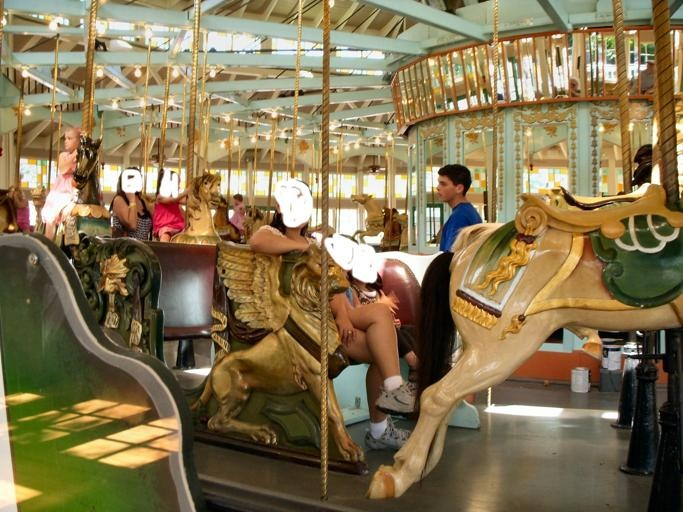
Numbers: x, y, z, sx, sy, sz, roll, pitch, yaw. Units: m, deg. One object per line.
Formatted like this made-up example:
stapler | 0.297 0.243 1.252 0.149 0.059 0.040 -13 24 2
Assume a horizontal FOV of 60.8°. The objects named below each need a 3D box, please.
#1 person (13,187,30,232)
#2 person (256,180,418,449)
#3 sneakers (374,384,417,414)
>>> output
person | -4.290 -0.627 7.804 0.158 0.561 2.034 0 1 -28
person | -0.030 0.318 2.967 0.785 1.410 0.606 0 1 6
sneakers | 0.262 0.672 2.705 0.222 0.112 0.091 -3 -3 7
